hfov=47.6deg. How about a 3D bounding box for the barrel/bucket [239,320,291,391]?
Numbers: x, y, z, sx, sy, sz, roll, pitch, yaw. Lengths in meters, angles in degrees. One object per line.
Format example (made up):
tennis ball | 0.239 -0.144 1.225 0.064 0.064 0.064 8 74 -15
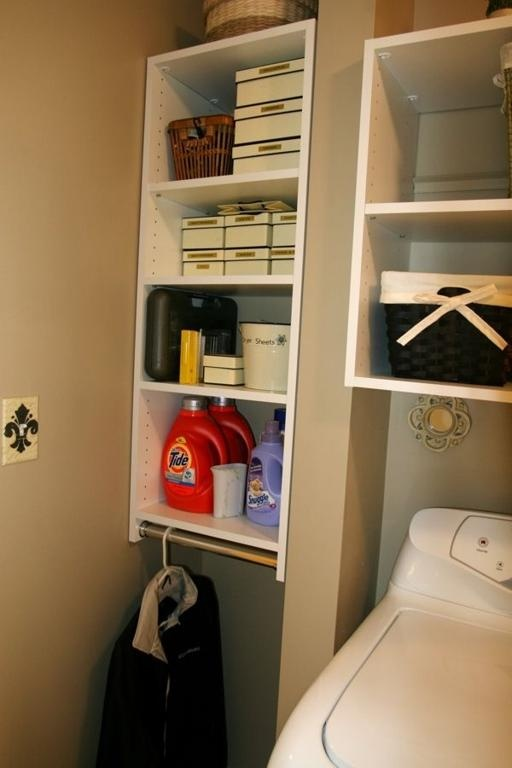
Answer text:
barrel/bucket | 0.023 -0.059 1.265 0.125 0.140 0.133 2 4 0

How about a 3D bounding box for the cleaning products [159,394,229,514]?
cleaning products | -0.157 0.179 1.473 0.182 0.279 0.134 4 7 19

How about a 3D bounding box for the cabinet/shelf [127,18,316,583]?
cabinet/shelf | -0.066 -0.414 1.393 0.391 1.126 0.196 6 14 16

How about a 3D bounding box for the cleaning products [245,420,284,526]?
cleaning products | 0.016 0.207 1.362 0.115 0.241 0.099 -1 3 15

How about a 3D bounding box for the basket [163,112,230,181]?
basket | -0.141 -0.554 1.387 0.224 0.148 0.080 1 4 42

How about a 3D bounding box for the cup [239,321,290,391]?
cup | 0.021 -0.060 1.265 0.126 0.141 0.134 2 4 0
